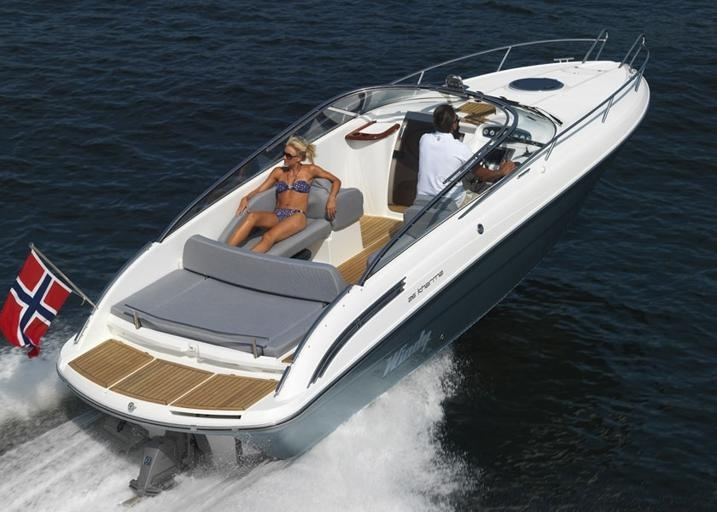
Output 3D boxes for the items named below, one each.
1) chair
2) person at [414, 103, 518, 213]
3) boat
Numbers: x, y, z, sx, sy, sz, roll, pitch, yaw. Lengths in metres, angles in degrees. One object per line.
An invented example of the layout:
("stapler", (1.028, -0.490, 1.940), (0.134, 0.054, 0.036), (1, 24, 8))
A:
("chair", (-0.901, 0.131, 7.886), (1.638, 0.583, 1.942), (23, 46, 18))
("person", (1.074, -0.939, 8.367), (0.958, 1.129, 0.808), (34, 66, 24))
("boat", (0.717, -0.306, 9.411), (8.368, 2.726, 3.175), (-31, 46, -27))
